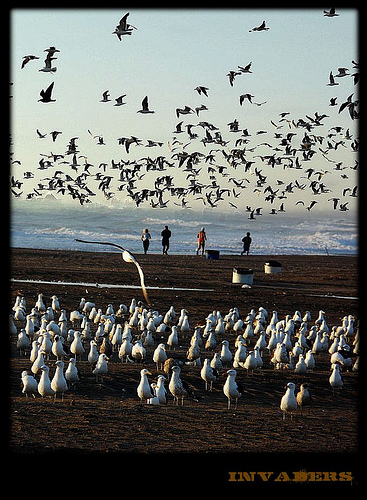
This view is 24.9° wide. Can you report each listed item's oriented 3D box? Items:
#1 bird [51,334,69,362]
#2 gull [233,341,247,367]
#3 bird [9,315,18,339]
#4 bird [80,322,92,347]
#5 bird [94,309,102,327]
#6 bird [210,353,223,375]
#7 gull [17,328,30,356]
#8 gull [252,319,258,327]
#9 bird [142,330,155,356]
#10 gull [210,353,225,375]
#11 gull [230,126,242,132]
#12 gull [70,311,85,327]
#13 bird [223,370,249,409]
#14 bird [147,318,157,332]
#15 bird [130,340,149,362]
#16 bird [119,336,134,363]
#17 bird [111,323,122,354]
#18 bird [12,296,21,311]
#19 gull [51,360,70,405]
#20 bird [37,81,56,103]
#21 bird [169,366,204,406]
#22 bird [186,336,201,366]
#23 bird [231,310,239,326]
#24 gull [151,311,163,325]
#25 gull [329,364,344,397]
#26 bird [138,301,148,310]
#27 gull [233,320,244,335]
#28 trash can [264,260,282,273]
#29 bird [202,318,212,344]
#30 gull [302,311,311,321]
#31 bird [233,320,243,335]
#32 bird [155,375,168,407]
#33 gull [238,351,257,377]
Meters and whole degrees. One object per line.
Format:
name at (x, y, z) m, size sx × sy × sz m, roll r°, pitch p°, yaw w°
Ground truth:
bird at (-2.117, 1.694, 14.192) m, size 0.269 × 0.492 × 0.441 m, roll 1°, pitch 10°, yaw -6°
gull at (0.979, 1.803, 14.260) m, size 0.172 × 0.347 × 0.392 m, roll 5°, pitch -28°, yaw -23°
bird at (-3.297, 1.511, 16.092) m, size 0.124 × 0.447 × 0.733 m, roll 0°, pitch 10°, yaw -11°
bird at (-1.843, 1.575, 15.889) m, size 0.187 × 0.349 × 0.339 m, roll 0°, pitch -16°, yaw -5°
bird at (-1.814, 1.440, 17.731) m, size 0.112 × 0.361 × 0.201 m, roll 5°, pitch 12°, yaw -2°
bird at (0.550, 1.839, 13.624) m, size 0.171 × 0.266 × 0.324 m, roll -1°, pitch -20°, yaw 3°
gull at (-2.877, 1.662, 14.954) m, size 0.230 × 0.426 × 0.484 m, roll 0°, pitch 10°, yaw -12°
gull at (1.534, 1.558, 17.788) m, size 0.138 × 0.056 × 0.224 m, roll -6°, pitch 0°, yaw 5°
bird at (-0.638, 1.701, 15.425) m, size 0.209 × 0.382 × 0.371 m, roll 2°, pitch -24°, yaw -14°
gull at (0.578, 1.861, 13.718) m, size 0.178 × 0.241 × 0.307 m, roll 1°, pitch -23°, yaw 7°
gull at (1.852, -4.302, 29.865) m, size 0.435 × 0.218 × 0.451 m, roll 1°, pitch 7°, yaw 3°
gull at (-2.291, 1.494, 17.887) m, size 0.285 × 0.196 × 0.383 m, roll 4°, pitch 1°, yaw -4°
bird at (0.769, 2.034, 12.230) m, size 0.283 × 0.587 × 0.844 m, roll 4°, pitch -6°, yaw 27°
bird at (-0.656, 1.545, 17.165) m, size 0.137 × 0.253 × 0.231 m, roll 0°, pitch 42°, yaw 6°
bird at (-0.779, 1.769, 14.671) m, size 0.270 × 0.438 × 0.832 m, roll 2°, pitch 9°, yaw 0°
bird at (-1.007, 1.744, 14.590) m, size 0.236 × 0.412 × 0.429 m, roll 2°, pitch 10°, yaw -4°
bird at (-1.231, 1.614, 15.323) m, size 0.157 × 0.496 × 0.360 m, roll 2°, pitch 10°, yaw -5°
bird at (-3.837, 1.255, 18.990) m, size 0.134 × 0.358 × 0.210 m, roll 11°, pitch 16°, yaw -11°
gull at (-1.807, 1.934, 12.149) m, size 0.257 × 0.588 × 0.700 m, roll 2°, pitch -13°, yaw 1°
bird at (-3.105, -3.548, 18.862) m, size 0.251 × 0.405 × 1.368 m, roll 1°, pitch 10°, yaw -10°
bird at (0.028, 1.959, 12.122) m, size 0.438 × 0.511 × 0.485 m, roll -1°, pitch 1°, yaw -12°
bird at (0.170, 1.794, 14.716) m, size 0.228 × 0.407 × 0.595 m, roll 2°, pitch 10°, yaw 0°
bird at (1.131, 1.475, 18.163) m, size 0.093 × 0.294 × 0.118 m, roll -2°, pitch -6°, yaw 5°
gull at (-0.548, 1.433, 17.599) m, size 0.210 × 0.129 × 0.267 m, roll 20°, pitch 1°, yaw -8°
gull at (2.408, 2.002, 13.080) m, size 0.146 × 0.295 × 0.429 m, roll 0°, pitch -29°, yaw 8°
bird at (-0.991, 1.300, 19.851) m, size 0.108 × 0.154 × 0.344 m, roll -1°, pitch -8°, yaw 2°
gull at (1.182, 1.656, 17.880) m, size 0.257 × 0.357 × 0.513 m, roll 0°, pitch -7°, yaw 1°
trash can at (3.500, 0.666, 33.228) m, size 0.479 × 0.353 × 0.493 m, roll -2°, pitch -5°, yaw 36°
bird at (0.499, 1.592, 16.965) m, size 0.115 × 0.373 × 0.220 m, roll 4°, pitch 24°, yaw -1°
gull at (3.001, 1.608, 20.217) m, size 0.213 × 0.227 × 0.287 m, roll 4°, pitch 10°, yaw 8°
bird at (1.181, 1.626, 17.832) m, size 0.202 × 0.271 × 0.305 m, roll 3°, pitch 10°, yaw 4°
bird at (-0.312, 1.994, 12.025) m, size 0.182 × 0.370 × 0.468 m, roll 2°, pitch 10°, yaw -1°
gull at (1.081, 1.903, 13.949) m, size 0.248 × 0.377 × 0.470 m, roll 2°, pitch 10°, yaw 0°
